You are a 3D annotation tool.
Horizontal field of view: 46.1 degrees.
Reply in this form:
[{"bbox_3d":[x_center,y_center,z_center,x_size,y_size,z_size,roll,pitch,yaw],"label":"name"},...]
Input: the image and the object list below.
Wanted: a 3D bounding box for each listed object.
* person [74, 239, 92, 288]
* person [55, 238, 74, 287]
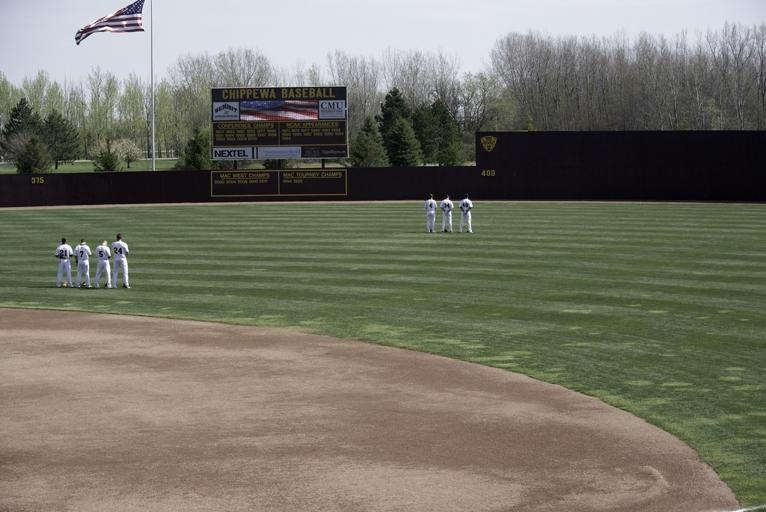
[{"bbox_3d":[-8.413,0.164,25.089,0.427,1.298,1.853,-2,5,-19],"label":"person"},{"bbox_3d":[-8.919,0.145,25.096,0.476,1.318,2.204,-2,5,-19],"label":"person"}]
